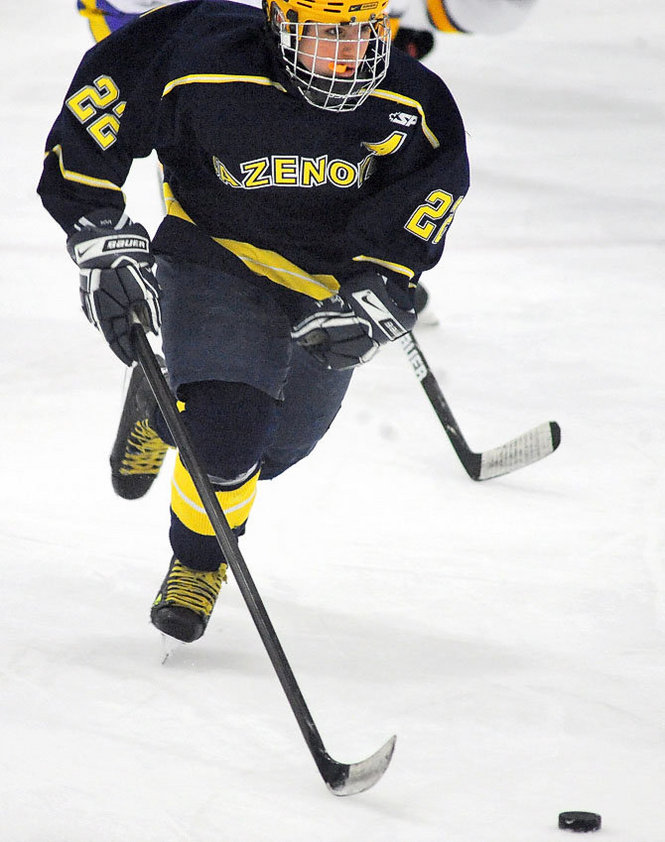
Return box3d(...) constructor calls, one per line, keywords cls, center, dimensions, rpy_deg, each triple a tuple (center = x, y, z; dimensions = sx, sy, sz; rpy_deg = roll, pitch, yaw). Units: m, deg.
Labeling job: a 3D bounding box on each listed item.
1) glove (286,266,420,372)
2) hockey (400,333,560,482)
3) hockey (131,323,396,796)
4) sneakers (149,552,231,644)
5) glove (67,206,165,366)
box3d(cls="glove", center=(0.050, -0.177, 1.916), dimensions=(0.250, 0.091, 0.157), rpy_deg=(-28, 68, -13))
box3d(cls="hockey", center=(0.322, -0.096, 2.977), dimensions=(0.178, 0.131, 1.024), rpy_deg=(-7, 26, -15))
box3d(cls="hockey", center=(-0.249, 0.080, 1.638), dimensions=(0.184, 0.107, 1.126), rpy_deg=(-12, 43, -25))
box3d(cls="sneakers", center=(-0.250, 0.312, 1.825), dimensions=(0.067, 0.076, 0.205), rpy_deg=(33, 9, -6))
box3d(cls="glove", center=(-0.371, -0.237, 1.848), dimensions=(0.184, 0.261, 0.111), rpy_deg=(-13, -10, -9))
